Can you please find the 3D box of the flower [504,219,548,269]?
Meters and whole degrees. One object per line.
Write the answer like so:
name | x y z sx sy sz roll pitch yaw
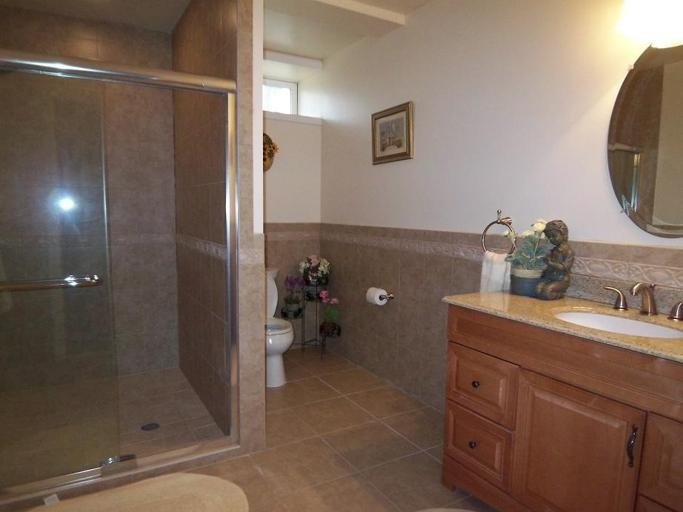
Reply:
flower | 1.021 -0.046 2.875 0.179 0.286 0.207 0 -4 30

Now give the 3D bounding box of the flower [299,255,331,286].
flower | -0.243 0.151 4.759 0.280 0.305 0.269 -3 12 -23

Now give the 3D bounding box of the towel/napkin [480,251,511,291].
towel/napkin | 0.887 0.093 2.974 0.044 0.322 0.171 -10 16 -39

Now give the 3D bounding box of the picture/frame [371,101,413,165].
picture/frame | 0.397 -0.926 3.909 0.051 0.496 0.506 -2 3 -30

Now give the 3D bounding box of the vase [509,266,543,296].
vase | 0.987 0.127 2.767 0.137 0.133 0.144 3 3 5

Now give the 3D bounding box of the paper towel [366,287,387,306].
paper towel | 0.269 0.322 4.064 0.123 0.148 0.161 6 -11 -29

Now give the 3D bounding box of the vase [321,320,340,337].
vase | -0.092 0.657 4.648 0.144 0.114 0.151 1 -1 0
